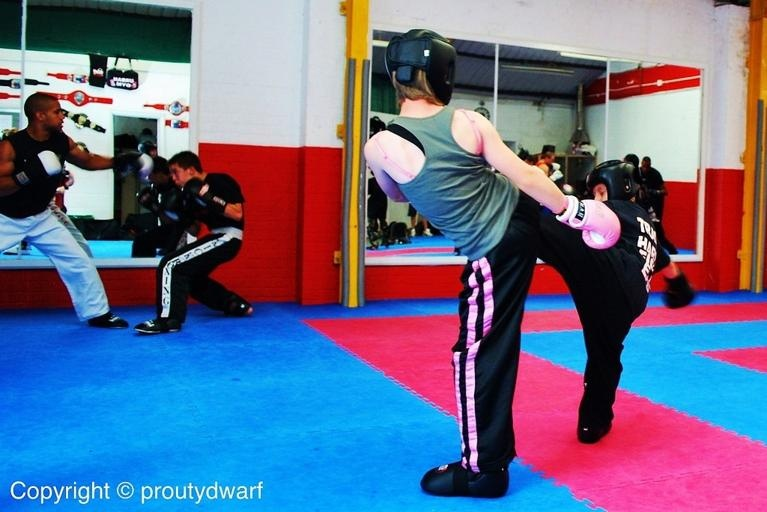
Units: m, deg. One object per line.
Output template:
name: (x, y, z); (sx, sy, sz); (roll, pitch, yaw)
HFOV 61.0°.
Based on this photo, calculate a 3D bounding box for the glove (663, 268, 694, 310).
glove: (1.852, 0.228, 4.108); (0.262, 0.247, 0.156); (-6, 7, -28)

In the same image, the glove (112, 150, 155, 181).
glove: (-2.432, -0.875, 6.256); (0.247, 0.157, 0.325); (-1, 3, -31)

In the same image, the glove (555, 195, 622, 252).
glove: (1.108, -0.176, 3.405); (0.331, 0.239, 0.141); (0, -24, -21)

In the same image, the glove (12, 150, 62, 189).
glove: (-2.950, -0.717, 5.678); (0.426, 0.261, 0.171); (-10, -32, 24)

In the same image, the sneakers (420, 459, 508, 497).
sneakers: (0.425, 1.246, 3.592); (0.382, 0.153, 0.209); (3, -3, 12)

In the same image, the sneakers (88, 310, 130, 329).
sneakers: (-2.620, 0.614, 6.243); (0.370, 0.148, 0.166); (0, 0, -1)

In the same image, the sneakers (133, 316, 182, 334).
sneakers: (-2.085, 0.648, 6.029); (0.418, 0.160, 0.147); (5, -3, -25)

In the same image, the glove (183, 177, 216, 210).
glove: (-1.741, -0.604, 6.160); (0.141, 0.238, 0.226); (-31, 40, -3)
